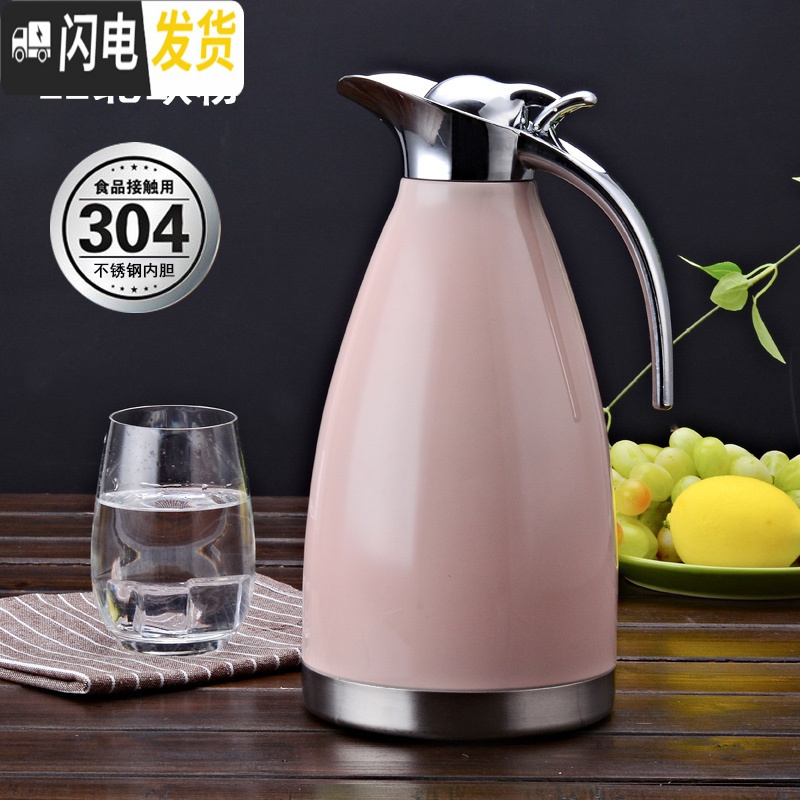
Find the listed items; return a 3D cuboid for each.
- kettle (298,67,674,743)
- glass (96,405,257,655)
[{"bbox_3d":[0.036,0.001,0.433,0.149,0.283,0.069,1,6,-6],"label":"kettle"},{"bbox_3d":[-0.091,0.069,0.533,0.123,0.115,0.097,-1,-8,-7],"label":"glass"}]
